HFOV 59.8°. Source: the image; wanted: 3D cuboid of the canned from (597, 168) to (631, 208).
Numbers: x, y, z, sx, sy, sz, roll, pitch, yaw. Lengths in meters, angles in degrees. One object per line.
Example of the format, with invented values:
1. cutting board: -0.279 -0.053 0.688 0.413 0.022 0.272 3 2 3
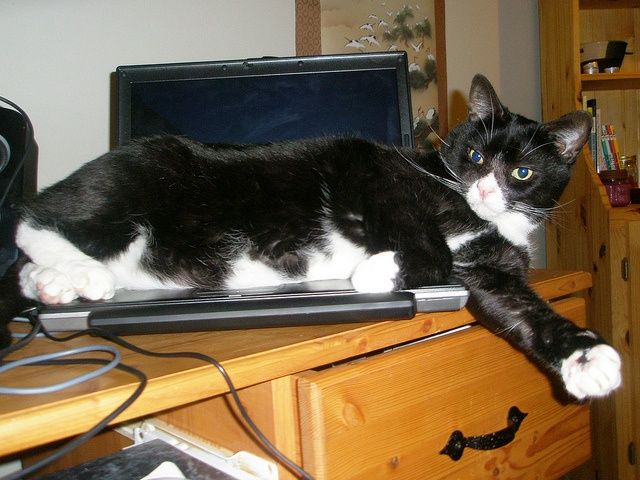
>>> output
1. canned: 0.944 -0.168 1.830 0.124 0.121 0.122 -2 -4 25

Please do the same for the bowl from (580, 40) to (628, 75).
1. bowl: 0.947 -0.605 1.853 0.134 0.081 0.129 1 -6 0
